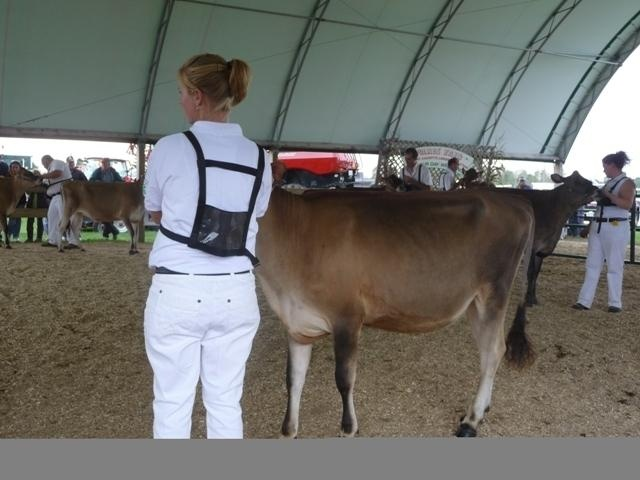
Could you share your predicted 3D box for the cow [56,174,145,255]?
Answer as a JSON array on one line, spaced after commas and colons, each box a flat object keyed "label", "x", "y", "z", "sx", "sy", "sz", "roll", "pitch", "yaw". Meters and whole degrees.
[{"label": "cow", "x": -4.525, "y": -0.628, "z": 11.234, "sx": 1.569, "sy": 1.294, "sz": 1.878, "roll": 0, "pitch": 12, "yaw": -19}]

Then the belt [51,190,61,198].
[{"label": "belt", "x": -5.498, "y": -0.950, "z": 11.113, "sx": 0.179, "sy": 0.048, "sz": 0.195, "roll": -20, "pitch": -4, "yaw": 25}]

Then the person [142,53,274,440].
[{"label": "person", "x": -0.595, "y": 0.060, "z": 2.891, "sx": 0.676, "sy": 2.065, "sz": 0.495, "roll": 0, "pitch": 11, "yaw": -19}]

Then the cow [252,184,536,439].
[{"label": "cow", "x": 0.624, "y": 0.610, "z": 4.074, "sx": 2.252, "sy": 1.959, "sz": 0.895, "roll": -2, "pitch": 12, "yaw": -30}]

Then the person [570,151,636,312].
[{"label": "person", "x": 3.852, "y": -0.113, "z": 7.099, "sx": 0.572, "sy": 2.112, "sz": 0.724, "roll": 10, "pitch": 12, "yaw": 30}]
